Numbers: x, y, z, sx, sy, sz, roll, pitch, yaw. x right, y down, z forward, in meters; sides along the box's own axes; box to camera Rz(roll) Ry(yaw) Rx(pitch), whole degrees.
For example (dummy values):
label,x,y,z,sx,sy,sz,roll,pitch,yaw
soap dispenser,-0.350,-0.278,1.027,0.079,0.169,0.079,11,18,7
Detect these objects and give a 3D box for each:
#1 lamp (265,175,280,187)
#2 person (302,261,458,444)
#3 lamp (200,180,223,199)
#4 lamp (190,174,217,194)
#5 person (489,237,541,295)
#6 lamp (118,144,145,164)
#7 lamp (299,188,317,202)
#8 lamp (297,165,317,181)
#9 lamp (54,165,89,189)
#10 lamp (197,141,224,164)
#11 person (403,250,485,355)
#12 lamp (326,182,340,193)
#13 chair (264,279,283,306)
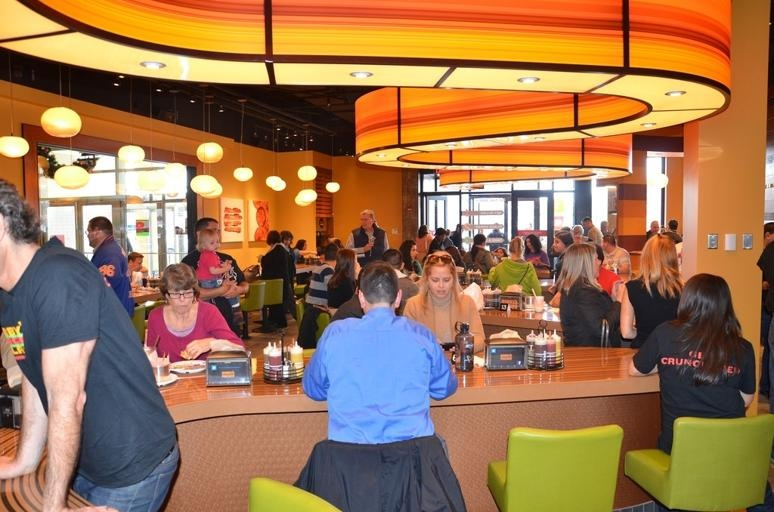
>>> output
label,x,y,z,sx,sy,sz,roll,pitch,yaw
lamp,-2.246,-1.464,12.782,0.259,0.233,0.319,1,-2,-33
person,-0.028,0.478,3.369,0.798,0.900,0.325,0,-1,-8
lamp,-2.644,-0.995,9.820,0.403,0.284,0.672,0,-1,-7
lamp,-2.635,-1.097,9.607,0.296,0.218,0.305,-4,-9,23
person,1.466,0.232,7.566,0.455,0.956,0.490,3,27,5
lamp,-3.340,-1.339,8.692,0.397,0.214,0.404,-3,-2,2
lamp,-1.620,-1.214,13.131,0.289,0.195,0.468,-1,3,-13
lamp,-1.504,-1.618,12.510,0.275,0.328,0.682,0,-1,-1
lamp,-3.715,-0.933,7.825,0.302,0.171,0.308,-2,-2,3
lamp,-2.453,-1.467,9.066,0.302,0.270,0.253,0,-1,-22
person,0.407,0.432,4.817,0.604,0.875,0.517,-4,9,-8
lamp,-1.171,-1.551,14.555,0.355,0.190,0.366,-1,7,20
chair,-1.722,0.549,9.981,0.334,0.304,0.339,0,8,-5
